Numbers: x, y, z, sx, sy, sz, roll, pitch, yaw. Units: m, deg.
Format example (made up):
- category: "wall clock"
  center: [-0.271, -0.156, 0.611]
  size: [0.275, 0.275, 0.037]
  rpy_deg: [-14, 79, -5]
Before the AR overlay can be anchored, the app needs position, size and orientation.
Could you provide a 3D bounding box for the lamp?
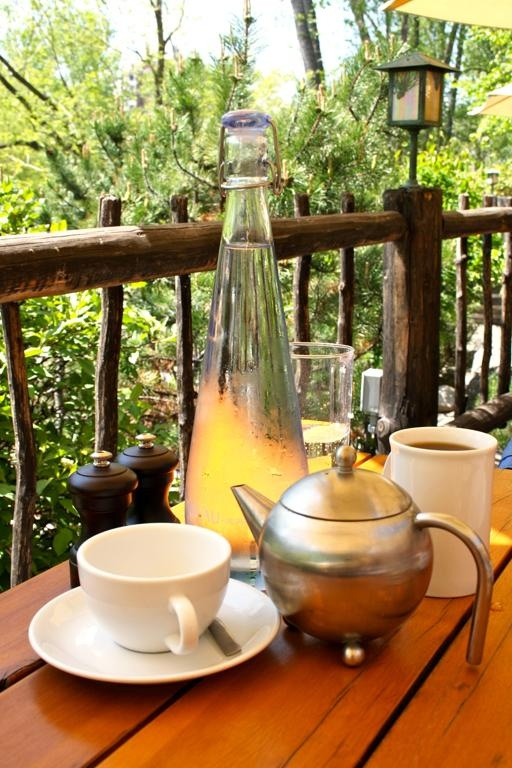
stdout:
- category: "lamp"
  center: [0.413, -0.685, 1.548]
  size: [0.157, 0.310, 0.153]
  rpy_deg: [13, 24, 36]
